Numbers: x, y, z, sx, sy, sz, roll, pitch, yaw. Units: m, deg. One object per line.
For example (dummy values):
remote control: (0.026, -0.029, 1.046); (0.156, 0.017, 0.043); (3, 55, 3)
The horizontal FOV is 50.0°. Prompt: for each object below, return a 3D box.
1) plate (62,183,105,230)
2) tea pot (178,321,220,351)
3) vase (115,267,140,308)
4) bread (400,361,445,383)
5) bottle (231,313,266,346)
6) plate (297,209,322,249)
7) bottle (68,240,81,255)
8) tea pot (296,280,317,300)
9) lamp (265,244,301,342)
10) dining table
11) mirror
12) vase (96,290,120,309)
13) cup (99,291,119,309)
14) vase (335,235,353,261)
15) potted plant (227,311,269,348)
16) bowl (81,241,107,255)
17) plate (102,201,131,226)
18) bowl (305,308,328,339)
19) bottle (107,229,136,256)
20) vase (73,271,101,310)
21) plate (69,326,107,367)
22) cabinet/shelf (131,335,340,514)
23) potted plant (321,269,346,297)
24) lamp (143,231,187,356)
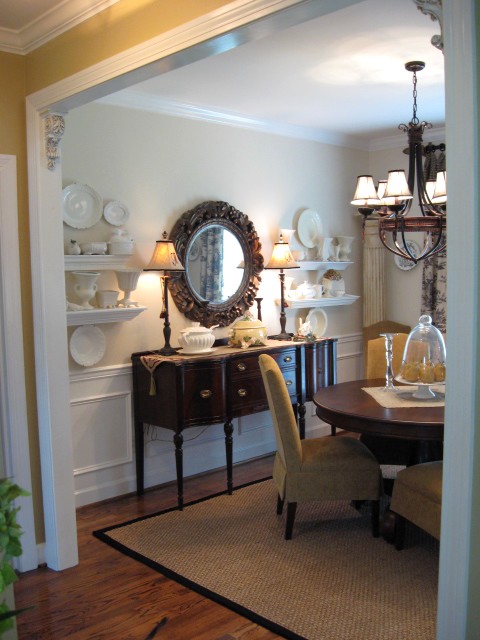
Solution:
plate: (-1.057, -0.747, 3.413); (0.048, 0.277, 0.272); (2, -5, 41)
tea pot: (-0.280, 0.137, 3.701); (0.147, 0.126, 0.259); (-4, -5, 31)
vase: (-0.778, -0.231, 3.544); (0.228, 0.314, 0.233); (0, 2, -16)
bread: (1.050, 0.297, 2.951); (0.231, 0.103, 0.236); (1, 0, 11)
bottle: (0.072, 0.089, 4.082); (0.216, 0.224, 0.212); (0, 1, 0)
plate: (0.713, -0.889, 5.082); (0.118, 0.379, 0.418); (-1, 2, 38)
bottle: (-1.076, -0.465, 3.346); (0.088, 0.076, 0.167); (-2, 1, -17)
tea pot: (0.638, -0.274, 4.866); (0.141, 0.152, 0.186); (-5, 10, -39)
lamp: (0.382, -0.306, 4.603); (0.295, 0.935, 0.519); (-2, 1, 4)
dining table: (0.803, 0.694, 2.955); (0.632, 0.381, 0.644); (5, 10, 43)
mirror: (-0.238, -0.441, 4.139); (0.057, 1.035, 1.017); (3, 6, 40)
vase: (-0.882, -0.136, 3.456); (0.137, 0.110, 0.117); (-3, 8, -40)
cup: (-0.894, -0.137, 3.498); (0.132, 0.107, 0.115); (0, 9, -5)
vase: (1.088, -0.750, 5.402); (0.257, 0.292, 0.251); (0, 7, 10)
potted plant: (0.074, 0.102, 4.091); (0.235, 0.243, 0.230); (0, 1, 4)
bowl: (-0.959, -0.464, 3.411); (0.102, 0.055, 0.126); (-1, 1, 30)
plate: (-0.866, -0.738, 3.582); (0.038, 0.171, 0.166); (10, 8, 44)
bowl: (0.803, 0.027, 5.210); (0.086, 0.290, 0.375); (-1, 1, 36)
bottle: (-0.796, -0.531, 3.513); (0.196, 0.200, 0.153); (-5, 10, -42)
vase: (-1.006, -0.190, 3.360); (0.217, 0.262, 0.221); (0, 0, 44)
plate: (-1.006, 0.171, 3.474); (0.041, 0.248, 0.245); (3, -4, 38)
cabinet/shelf: (-0.085, 0.731, 3.614); (0.367, 0.683, 1.093); (3, 7, 43)
potted plant: (0.939, -0.381, 5.193); (0.259, 0.358, 0.253); (-4, 7, -18)
lamp: (-0.552, -0.209, 3.745); (0.273, 0.904, 0.455); (-2, 1, -10)
